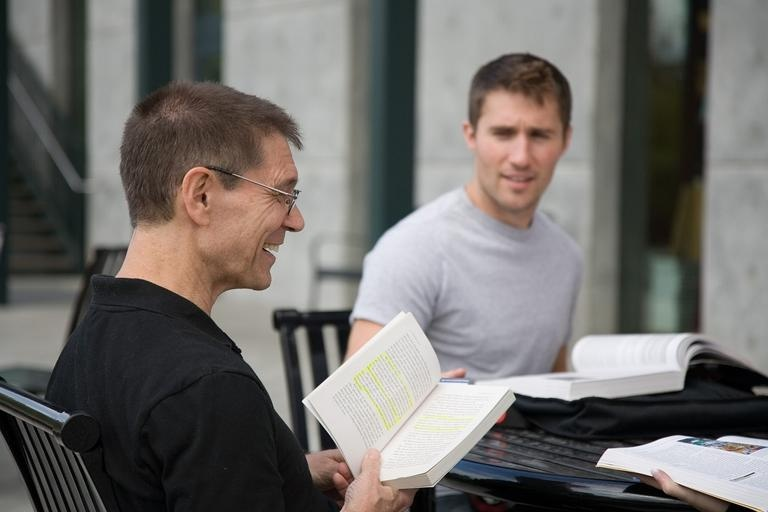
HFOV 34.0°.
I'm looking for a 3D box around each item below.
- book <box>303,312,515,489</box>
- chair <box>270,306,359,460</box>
[{"bbox_3d":[0.098,0.573,4.471,0.626,0.264,0.580,33,45,28],"label":"book"},{"bbox_3d":[-0.197,0.523,5.478,0.310,0.386,0.517,-18,-17,-16],"label":"chair"}]
